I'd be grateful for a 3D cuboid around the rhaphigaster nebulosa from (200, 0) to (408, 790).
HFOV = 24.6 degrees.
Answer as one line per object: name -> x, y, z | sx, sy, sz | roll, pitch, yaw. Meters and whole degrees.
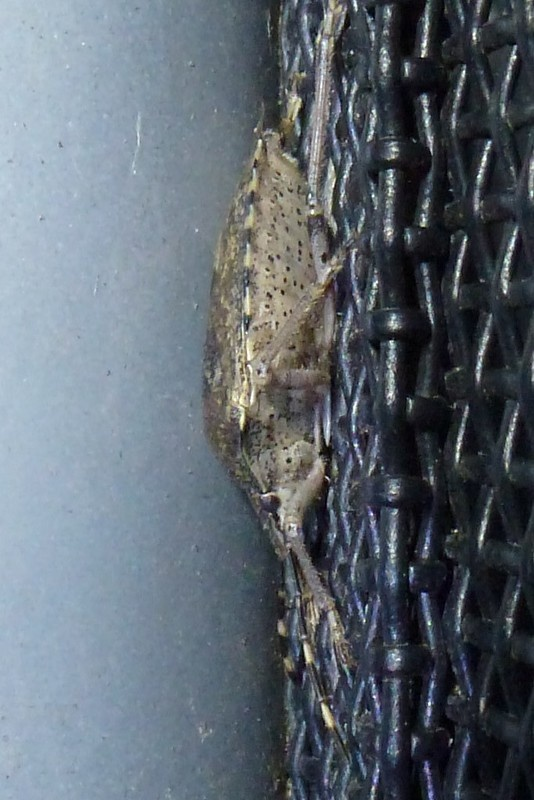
rhaphigaster nebulosa -> 0.064, -0.001, 1.050 | 0.091, 0.293, 0.623 | -1, 96, -21
